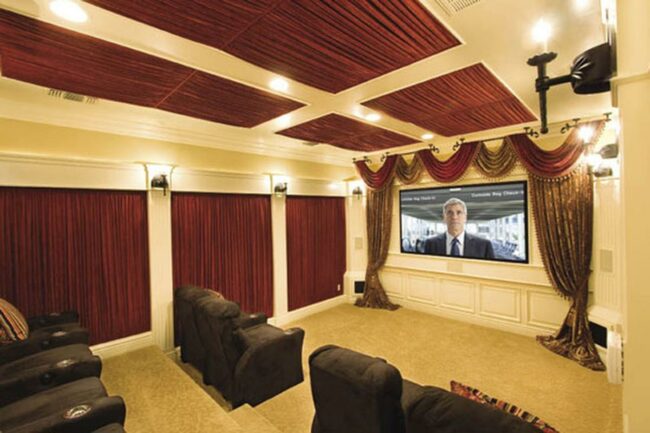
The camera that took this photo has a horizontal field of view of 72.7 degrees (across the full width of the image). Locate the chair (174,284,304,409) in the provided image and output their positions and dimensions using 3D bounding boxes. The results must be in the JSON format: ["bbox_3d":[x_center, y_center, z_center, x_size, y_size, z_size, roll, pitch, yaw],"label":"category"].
[{"bbox_3d":[-1.095,1.632,6.029,1.242,1.426,2.087,-7,5,-39],"label":"chair"}]

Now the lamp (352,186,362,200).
[{"bbox_3d":[0.631,-0.466,8.706,0.153,0.105,0.248,0,-9,2],"label":"lamp"}]

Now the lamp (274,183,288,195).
[{"bbox_3d":[-0.748,-0.465,7.461,0.073,0.206,0.266,13,17,40],"label":"lamp"}]
